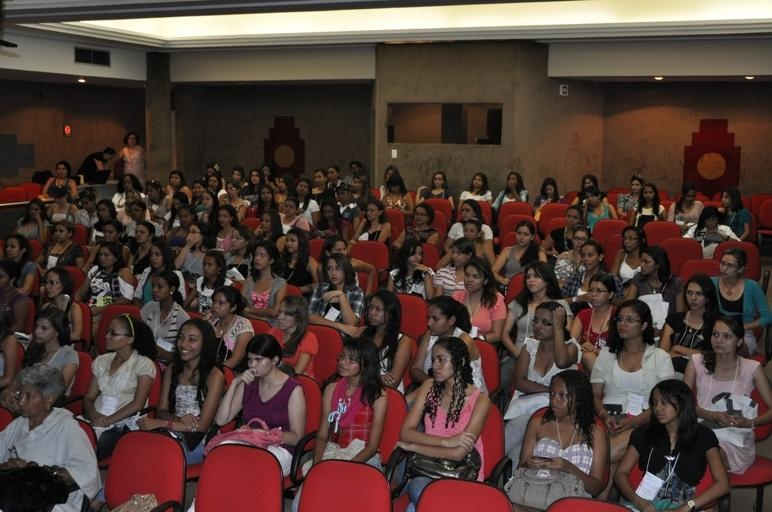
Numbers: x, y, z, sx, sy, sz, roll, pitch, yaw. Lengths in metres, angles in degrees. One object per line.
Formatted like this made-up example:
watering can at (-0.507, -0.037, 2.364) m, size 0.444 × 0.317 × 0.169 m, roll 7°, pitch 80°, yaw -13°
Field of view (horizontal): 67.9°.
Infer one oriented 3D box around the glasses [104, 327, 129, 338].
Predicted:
glasses at (-2.173, 0.607, 4.627) m, size 0.187 × 0.073 × 0.056 m, roll 1°, pitch 3°, yaw 1°

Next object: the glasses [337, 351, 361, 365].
glasses at (-0.268, 0.729, 4.125) m, size 0.091 × 0.078 × 0.126 m, roll 2°, pitch -10°, yaw 2°

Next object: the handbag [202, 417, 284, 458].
handbag at (-0.988, 1.314, 4.038) m, size 0.536 × 0.227 × 0.429 m, roll 0°, pitch 3°, yaw -22°

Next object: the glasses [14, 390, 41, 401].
glasses at (-2.468, 0.953, 3.939) m, size 0.143 × 0.063 × 0.037 m, roll 2°, pitch 3°, yaw 12°

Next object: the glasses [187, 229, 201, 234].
glasses at (-2.384, -0.313, 7.116) m, size 0.112 × 0.043 × 0.123 m, roll -4°, pitch -3°, yaw 19°

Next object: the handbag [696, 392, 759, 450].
handbag at (2.598, 1.213, 4.317) m, size 0.378 × 0.321 × 0.360 m, roll 3°, pitch 4°, yaw 27°

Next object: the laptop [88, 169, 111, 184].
laptop at (-7.471, -2.084, 15.009) m, size 0.319 × 0.390 × 0.506 m, roll 6°, pitch 3°, yaw 44°

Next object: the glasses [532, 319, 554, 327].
glasses at (1.304, 0.547, 4.744) m, size 0.151 × 0.063 × 0.056 m, roll 2°, pitch 3°, yaw 14°
